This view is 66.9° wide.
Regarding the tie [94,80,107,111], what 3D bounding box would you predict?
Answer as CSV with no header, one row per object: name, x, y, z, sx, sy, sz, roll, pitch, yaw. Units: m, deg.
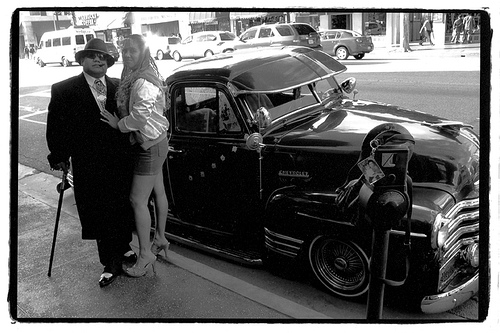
tie,-1.667,-0.804,4.258,0.117,0.307,0.072,-7,16,-21

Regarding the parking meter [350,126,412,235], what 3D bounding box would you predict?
parking meter,1.094,0.120,3.169,0.294,0.826,0.453,2,5,6
